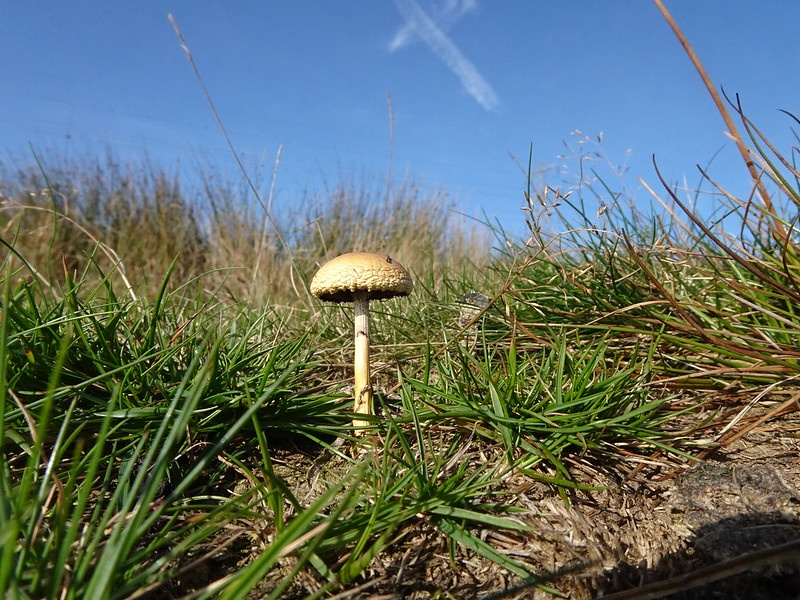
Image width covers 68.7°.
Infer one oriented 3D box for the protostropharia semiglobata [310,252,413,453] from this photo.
[{"bbox_3d":[-0.161,0.200,2.779,0.456,0.763,0.474,-6,-1,-9],"label":"protostropharia semiglobata"}]
